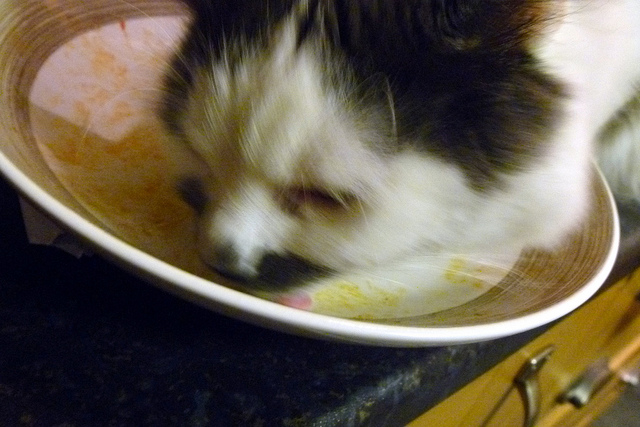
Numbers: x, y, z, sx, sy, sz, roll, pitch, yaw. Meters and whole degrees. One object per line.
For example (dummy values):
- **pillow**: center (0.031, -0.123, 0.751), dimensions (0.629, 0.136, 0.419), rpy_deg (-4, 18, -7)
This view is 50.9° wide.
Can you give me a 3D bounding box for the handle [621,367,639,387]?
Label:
- **handle**: center (0.351, 0.184, 0.761), dimensions (0.018, 0.005, 0.015), rpy_deg (-5, 35, 4)
